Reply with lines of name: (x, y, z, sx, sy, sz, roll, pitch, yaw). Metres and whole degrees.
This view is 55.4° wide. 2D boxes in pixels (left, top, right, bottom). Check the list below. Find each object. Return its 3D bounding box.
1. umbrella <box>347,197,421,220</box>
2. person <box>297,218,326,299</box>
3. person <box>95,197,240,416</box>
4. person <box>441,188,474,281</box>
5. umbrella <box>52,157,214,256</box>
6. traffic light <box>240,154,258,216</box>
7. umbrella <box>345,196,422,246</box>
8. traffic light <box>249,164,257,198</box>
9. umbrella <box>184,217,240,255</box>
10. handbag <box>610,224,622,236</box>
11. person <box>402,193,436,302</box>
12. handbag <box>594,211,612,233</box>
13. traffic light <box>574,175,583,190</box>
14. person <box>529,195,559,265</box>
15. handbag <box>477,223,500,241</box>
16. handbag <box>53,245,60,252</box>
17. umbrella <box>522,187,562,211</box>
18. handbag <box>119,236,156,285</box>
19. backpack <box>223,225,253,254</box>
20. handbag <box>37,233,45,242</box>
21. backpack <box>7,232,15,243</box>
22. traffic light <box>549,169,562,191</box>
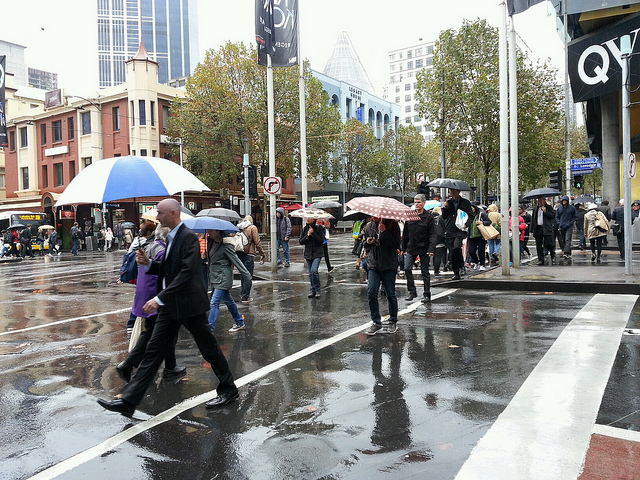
umbrella: (0.997, -0.477, 9.800, 0.792, 0.393, 1.259, 4, 9, 42)
person: (-0.151, 0.324, 13.786, 0.573, 1.888, 0.570, 4, -6, -42)
person: (-1.699, 0.734, 7.186, 1.354, 2.401, 0.662, -4, 7, -10)
person: (3.327, -0.179, 14.656, 0.642, 2.125, 1.013, -2, 7, 6)
umbrella: (-2.888, -0.423, 9.697, 2.133, 1.782, 2.128, -4, 11, -16)
traffic light: (-2.530, -1.914, 21.710, 0.824, 2.063, 0.509, -15, 27, -38)
umbrella: (1.009, -0.297, 10.104, 1.235, 0.834, 1.215, 2, 9, -11)
traffic light: (-2.397, -2.039, 21.572, 0.207, 1.092, 0.732, -3, 6, -2)
umbrella: (-1.729, -0.066, 9.819, 0.766, 0.459, 0.778, 1, -3, 41)
handbag: (9.229, -0.303, 18.838, 0.441, 0.423, 0.301, -7, -3, 21)
person: (2.008, 0.169, 12.331, 0.674, 2.144, 0.542, -1, -4, 18)
handbag: (8.521, -0.548, 18.311, 0.380, 0.686, 0.709, -5, 2, 8)
traffic light: (10.857, -2.403, 25.514, 0.280, 0.522, 0.429, -1, 7, 16)
person: (6.480, -0.249, 17.595, 0.670, 1.984, 1.096, 0, 7, 21)
handbag: (4.554, -0.223, 16.489, 0.483, 0.207, 0.454, -6, 49, -42)
handbag: (-17.097, 0.520, 39.305, 0.322, 0.417, 0.462, -2, -25, -6)
umbrella: (6.905, -1.467, 18.852, 0.888, 0.531, 0.900, -5, -11, 11)
handbag: (-2.627, 0.417, 9.112, 0.586, 0.556, 0.403, 15, 8, -25)
backpack: (-1.606, 0.034, 12.107, 0.360, 0.548, 0.545, -1, -5, 29)
handbag: (-17.491, -0.085, 37.975, 0.224, 0.512, 0.747, -5, 7, -18)
backpack: (-17.956, -0.124, 35.172, 0.307, 0.605, 0.372, -6, 7, -28)
traffic light: (9.375, -2.328, 24.139, 0.392, 0.723, 0.966, 0, 7, 17)
